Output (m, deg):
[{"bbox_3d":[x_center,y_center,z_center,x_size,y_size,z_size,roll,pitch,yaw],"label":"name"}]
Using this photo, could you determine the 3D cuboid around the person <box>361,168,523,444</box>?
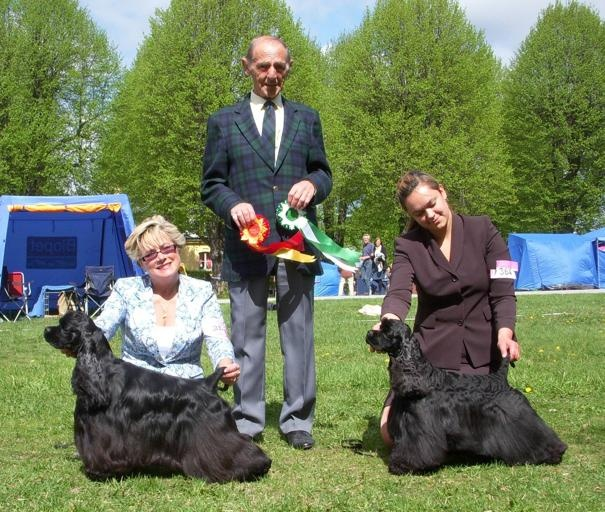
[{"bbox_3d":[0.918,0.480,4.113,0.962,2.082,1.152,0,-6,-5],"label":"person"}]

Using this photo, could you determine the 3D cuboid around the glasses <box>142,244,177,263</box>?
[{"bbox_3d":[-0.908,-0.015,3.997,0.221,0.113,0.064,0,2,-17],"label":"glasses"}]

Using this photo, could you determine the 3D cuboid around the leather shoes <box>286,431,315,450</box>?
[{"bbox_3d":[-0.021,1.256,4.314,0.175,0.090,0.284,0,1,-10],"label":"leather shoes"}]

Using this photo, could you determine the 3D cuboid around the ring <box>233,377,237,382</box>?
[{"bbox_3d":[-0.408,0.749,3.765,0.020,0.029,0.030,1,-12,-1],"label":"ring"}]

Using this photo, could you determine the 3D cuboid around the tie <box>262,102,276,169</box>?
[{"bbox_3d":[-0.237,-0.837,4.347,0.106,0.524,0.036,-8,-23,12],"label":"tie"}]

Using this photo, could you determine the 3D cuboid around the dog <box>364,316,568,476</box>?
[{"bbox_3d":[1.011,0.920,3.965,1.159,1.016,0.480,-3,-25,18],"label":"dog"}]

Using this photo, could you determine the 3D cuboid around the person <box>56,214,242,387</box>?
[{"bbox_3d":[-0.921,0.342,3.938,0.885,1.269,0.714,-2,-6,-16],"label":"person"}]
